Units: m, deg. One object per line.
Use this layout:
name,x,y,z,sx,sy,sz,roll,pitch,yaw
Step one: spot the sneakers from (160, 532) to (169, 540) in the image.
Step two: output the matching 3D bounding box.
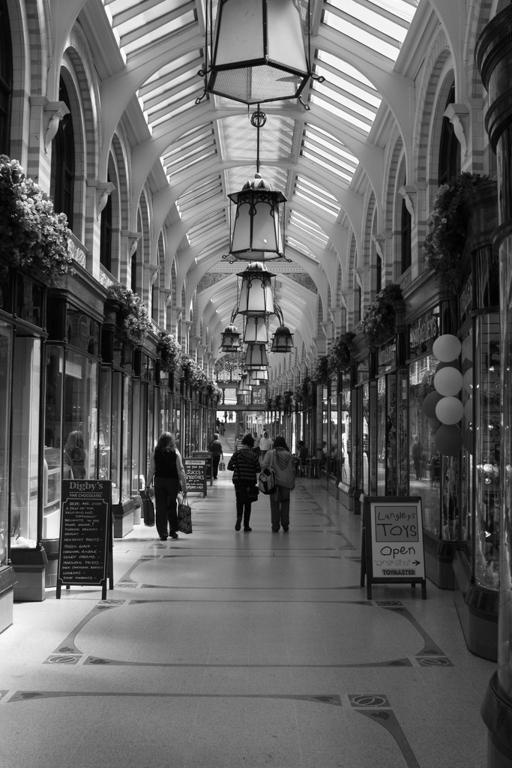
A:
sneakers,-1.702,2.818,11.963,0.096,0.172,0.118,-4,-8,30

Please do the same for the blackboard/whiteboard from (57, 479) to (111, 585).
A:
blackboard/whiteboard,-1.968,1.882,7.420,0.559,1.718,0.565,5,-41,-17

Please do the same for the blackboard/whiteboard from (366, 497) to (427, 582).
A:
blackboard/whiteboard,1.646,1.668,7.646,0.694,0.828,1.408,-1,-40,17

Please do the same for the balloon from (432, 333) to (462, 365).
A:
balloon,2.253,-0.405,7.627,0.311,0.331,0.302,-3,-6,19

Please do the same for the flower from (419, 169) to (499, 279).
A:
flower,2.097,-1.594,6.471,0.697,0.654,1.176,-20,-22,32

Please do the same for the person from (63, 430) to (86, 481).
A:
person,-2.731,1.057,9.866,0.180,0.712,1.410,1,-7,-11

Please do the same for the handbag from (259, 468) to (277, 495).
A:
handbag,0.219,1.971,13.184,0.338,0.522,0.420,-1,-6,2

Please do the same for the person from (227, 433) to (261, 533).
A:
person,-0.237,2.015,13.085,0.612,1.977,0.804,0,-5,1

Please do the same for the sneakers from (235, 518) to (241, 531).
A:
sneakers,-0.370,2.897,13.281,0.072,0.326,0.097,2,-2,5

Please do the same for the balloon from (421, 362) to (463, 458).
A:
balloon,2.142,0.411,7.545,0.438,1.255,0.256,-13,21,-29

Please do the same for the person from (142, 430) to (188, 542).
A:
person,-1.638,1.891,11.845,0.643,1.959,0.996,1,-5,-11

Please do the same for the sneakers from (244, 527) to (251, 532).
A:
sneakers,-0.167,2.983,13.251,0.055,0.168,0.164,4,-12,-43
